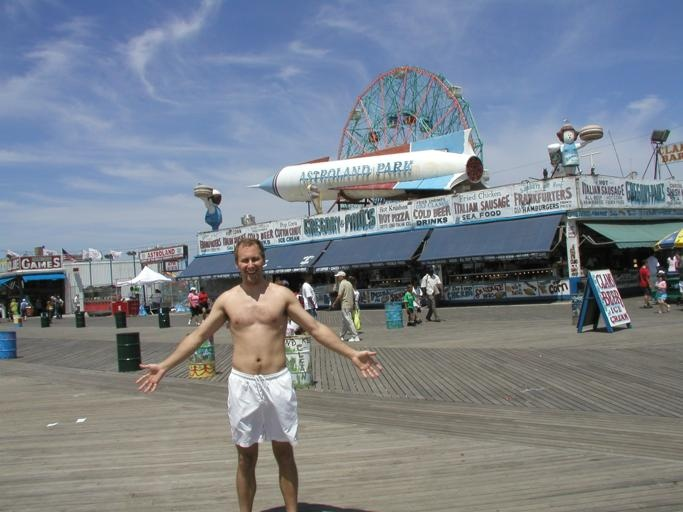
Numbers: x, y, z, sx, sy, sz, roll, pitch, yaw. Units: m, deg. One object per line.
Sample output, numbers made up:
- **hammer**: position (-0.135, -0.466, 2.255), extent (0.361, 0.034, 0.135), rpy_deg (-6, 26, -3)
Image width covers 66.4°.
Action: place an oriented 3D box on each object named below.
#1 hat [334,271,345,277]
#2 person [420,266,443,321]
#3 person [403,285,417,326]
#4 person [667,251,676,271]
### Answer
- **hat**: position (-0.064, 0.612, 17.231), extent (0.254, 0.146, 0.364), rpy_deg (3, -3, -40)
- **person**: position (3.593, 1.533, 20.683), extent (0.758, 2.124, 1.001), rpy_deg (-2, -8, -10)
- **person**: position (2.717, 1.907, 20.523), extent (0.418, 1.503, 1.272), rpy_deg (-4, -1, 7)
- **person**: position (13.303, 0.278, 21.063), extent (0.341, 0.840, 1.343), rpy_deg (-5, -2, 32)
